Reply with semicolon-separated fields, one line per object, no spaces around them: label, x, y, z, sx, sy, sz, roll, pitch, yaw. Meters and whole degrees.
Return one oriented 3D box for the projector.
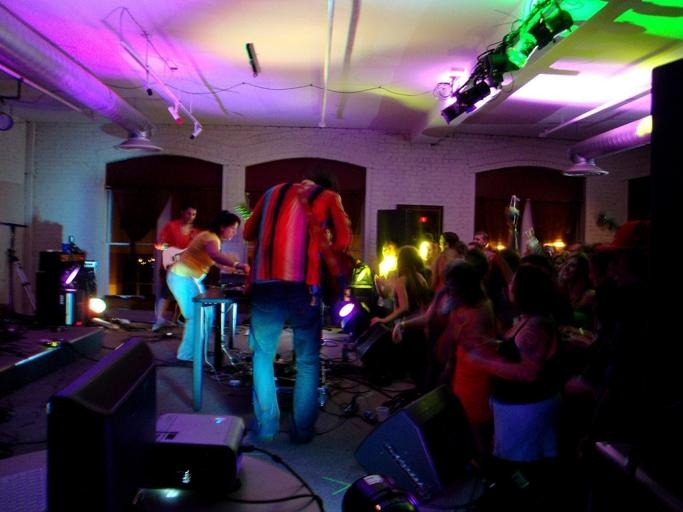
projector;-0.660;0.843;2.284;0.440;0.184;0.444;3;1;-7

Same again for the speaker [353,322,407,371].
speaker;0.296;0.822;4.721;0.345;0.408;0.441;-3;8;-2

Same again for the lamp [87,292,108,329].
lamp;-3.068;0.646;6.567;0.169;0.412;1.176;1;1;-21

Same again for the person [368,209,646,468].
person;1.087;0.576;3.340;1.285;1.364;0.894;1;-1;21

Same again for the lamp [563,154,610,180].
lamp;3.238;-1.144;6.849;0.536;0.232;0.524;-2;4;-28

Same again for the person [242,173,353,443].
person;-0.348;0.264;3.677;0.656;1.832;0.758;4;-2;-9

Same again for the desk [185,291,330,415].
desk;-0.819;0.649;4.190;0.754;0.921;1.002;0;-2;-4

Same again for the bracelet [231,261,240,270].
bracelet;-0.954;0.088;4.679;0.071;0.037;0.069;0;10;-14

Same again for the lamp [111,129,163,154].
lamp;-2.326;-1.285;5.932;0.646;0.246;0.632;0;3;-13

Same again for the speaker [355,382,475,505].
speaker;0.387;0.891;2.728;0.529;0.492;0.543;0;-4;38
